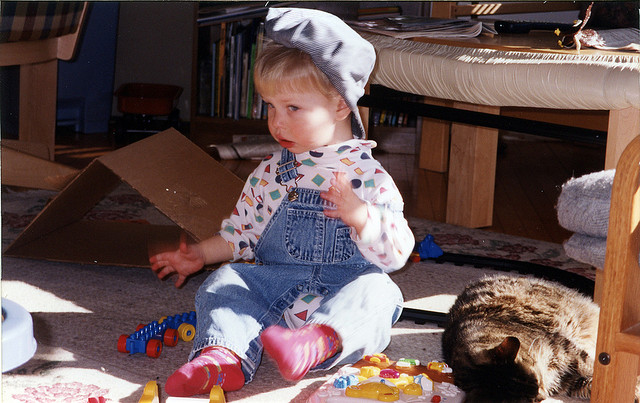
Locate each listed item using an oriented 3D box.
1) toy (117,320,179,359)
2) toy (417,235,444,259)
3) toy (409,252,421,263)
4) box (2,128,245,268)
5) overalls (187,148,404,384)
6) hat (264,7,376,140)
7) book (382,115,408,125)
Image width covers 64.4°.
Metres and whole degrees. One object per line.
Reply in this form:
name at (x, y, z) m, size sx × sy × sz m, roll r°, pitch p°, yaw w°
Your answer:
toy at (-0.379, 0.306, 1.134) m, size 0.093 × 0.045 × 0.110 m, roll 9°, pitch 18°, yaw 25°
toy at (0.352, 0.148, 1.621) m, size 0.073 × 0.059 × 0.068 m, roll 11°, pitch 19°, yaw 28°
toy at (0.300, 0.174, 1.599) m, size 0.028 × 0.025 × 0.045 m, roll 11°, pitch 19°, yaw 28°
box at (-0.547, 0.003, 1.515) m, size 0.678 × 0.256 × 0.393 m, roll -1°, pitch 17°, yaw 15°
overalls at (0.010, 0.113, 1.170) m, size 0.365 × 0.337 × 0.490 m, roll 10°, pitch 12°, yaw 18°
hat at (0.020, -0.313, 1.204) m, size 0.261 × 0.235 × 0.198 m, roll 14°, pitch 13°, yaw -2°
book at (0.431, -0.480, 2.993) m, size 0.123 × 0.102 × 0.060 m, roll 1°, pitch 7°, yaw 12°
